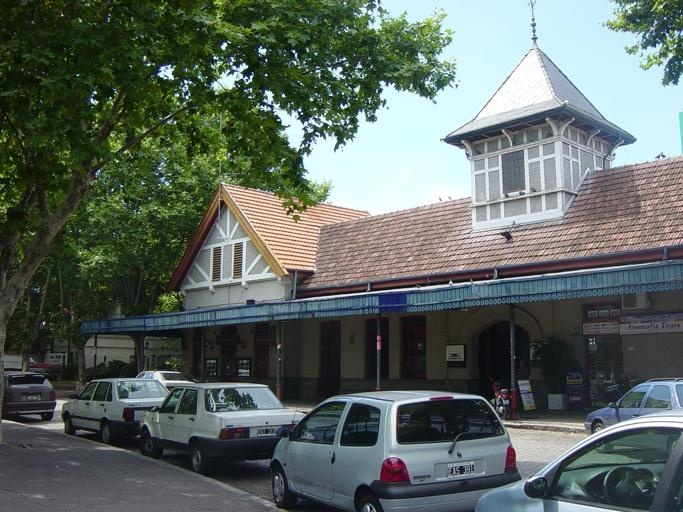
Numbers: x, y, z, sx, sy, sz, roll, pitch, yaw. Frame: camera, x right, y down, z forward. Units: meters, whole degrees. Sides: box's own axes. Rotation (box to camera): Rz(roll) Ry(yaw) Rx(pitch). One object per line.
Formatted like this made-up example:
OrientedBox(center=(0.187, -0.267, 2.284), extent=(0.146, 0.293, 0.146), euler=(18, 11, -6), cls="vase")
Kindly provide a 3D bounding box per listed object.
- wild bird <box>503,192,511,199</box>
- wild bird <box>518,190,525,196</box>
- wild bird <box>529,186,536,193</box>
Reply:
OrientedBox(center=(5.985, -2.159, 32.322), extent=(0.146, 0.147, 0.210), euler=(-1, -9, -2), cls="wild bird")
OrientedBox(center=(6.426, -2.219, 31.945), extent=(0.172, 0.178, 0.133), euler=(0, -26, 22), cls="wild bird")
OrientedBox(center=(6.765, -2.301, 31.621), extent=(0.148, 0.223, 0.224), euler=(-1, -3, -7), cls="wild bird")
